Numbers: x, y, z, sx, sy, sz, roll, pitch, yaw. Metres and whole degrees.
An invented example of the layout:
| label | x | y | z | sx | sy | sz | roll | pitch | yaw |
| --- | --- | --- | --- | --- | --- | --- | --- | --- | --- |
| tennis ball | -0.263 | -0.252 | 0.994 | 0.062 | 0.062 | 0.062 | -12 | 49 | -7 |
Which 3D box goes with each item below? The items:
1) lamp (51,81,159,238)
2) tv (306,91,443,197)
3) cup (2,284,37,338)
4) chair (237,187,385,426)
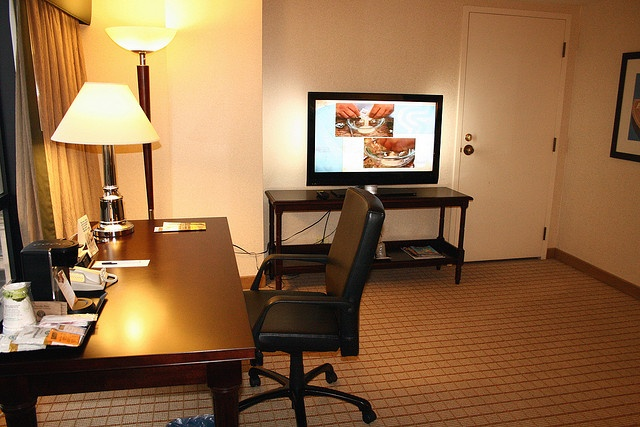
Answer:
| label | x | y | z | sx | sy | sz | roll | pitch | yaw |
| --- | --- | --- | --- | --- | --- | --- | --- | --- | --- |
| lamp | -1.303 | -0.315 | 2.978 | 0.497 | 0.957 | 0.341 | 2 | 14 | 10 |
| tv | 0.471 | -0.702 | 4.678 | 1.202 | 0.801 | 0.125 | 0 | 6 | -10 |
| cup | -1.358 | 0.427 | 2.165 | 0.125 | 0.195 | 0.098 | -9 | 16 | -30 |
| chair | -0.090 | 0.579 | 2.980 | 0.868 | 1.444 | 0.651 | -3 | 14 | -10 |
